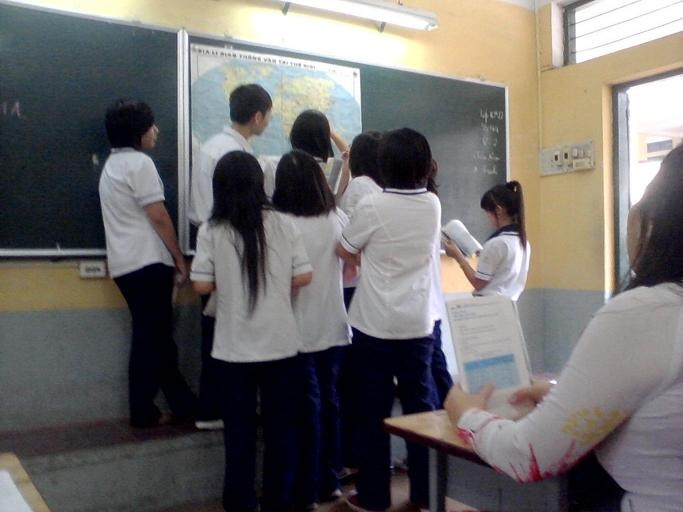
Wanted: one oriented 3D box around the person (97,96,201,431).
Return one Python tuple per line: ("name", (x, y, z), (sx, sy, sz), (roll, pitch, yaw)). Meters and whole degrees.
("person", (-0.988, 0.179, 3.109), (0.383, 1.433, 0.205), (-6, 7, -23))
